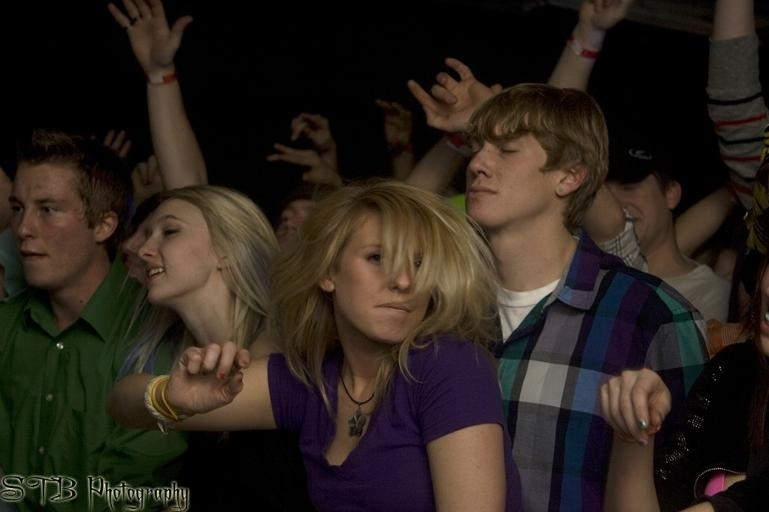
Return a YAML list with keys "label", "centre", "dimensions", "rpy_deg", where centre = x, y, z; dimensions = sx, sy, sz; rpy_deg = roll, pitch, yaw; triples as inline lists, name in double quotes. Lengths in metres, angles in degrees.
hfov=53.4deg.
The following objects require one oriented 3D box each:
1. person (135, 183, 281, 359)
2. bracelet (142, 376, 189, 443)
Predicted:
- label: "person"
  centre: [-0.950, 0.136, 4.099]
  dimensions: [0.798, 1.030, 0.660]
  rpy_deg: [-7, -13, 1]
- label: "bracelet"
  centre: [-0.957, 0.648, 3.286]
  dimensions: [0.090, 0.212, 0.203]
  rpy_deg: [-16, -54, 33]
